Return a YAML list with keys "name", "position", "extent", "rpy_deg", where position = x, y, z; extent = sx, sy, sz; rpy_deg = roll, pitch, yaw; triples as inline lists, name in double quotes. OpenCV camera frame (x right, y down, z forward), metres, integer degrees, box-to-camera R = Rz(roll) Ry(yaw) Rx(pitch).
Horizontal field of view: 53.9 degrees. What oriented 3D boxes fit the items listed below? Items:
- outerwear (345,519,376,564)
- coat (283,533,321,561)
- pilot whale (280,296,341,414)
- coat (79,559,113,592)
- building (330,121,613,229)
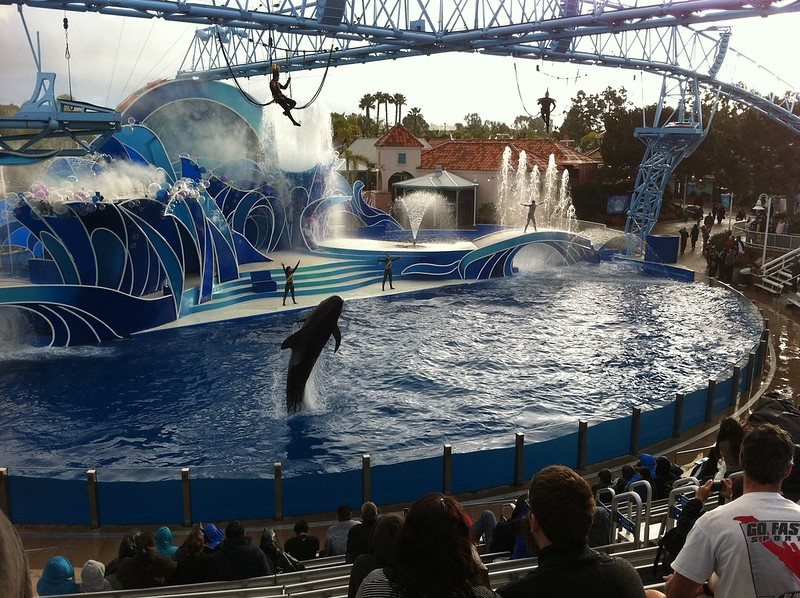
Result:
- name: "outerwear"
  position: [-0.593, 3.711, 11.893]
  extent: [0.414, 0.312, 0.615]
  rpy_deg: [-4, 37, -1]
- name: "coat"
  position: [-1.643, 4.135, 13.449]
  extent: [0.623, 0.608, 0.346]
  rpy_deg: [1, 0, 5]
- name: "pilot whale"
  position: [-2.167, 1.401, 18.412]
  extent: [1.474, 3.132, 0.980]
  rpy_deg: [12, 19, 40]
- name: "coat"
  position: [-4.526, 4.144, 11.774]
  extent: [0.394, 0.409, 0.534]
  rpy_deg: [-11, 18, -36]
- name: "building"
  position: [6.154, -9.626, 54.899]
  extent: [14.366, 4.862, 11.030]
  rpy_deg: [-9, 21, -19]
